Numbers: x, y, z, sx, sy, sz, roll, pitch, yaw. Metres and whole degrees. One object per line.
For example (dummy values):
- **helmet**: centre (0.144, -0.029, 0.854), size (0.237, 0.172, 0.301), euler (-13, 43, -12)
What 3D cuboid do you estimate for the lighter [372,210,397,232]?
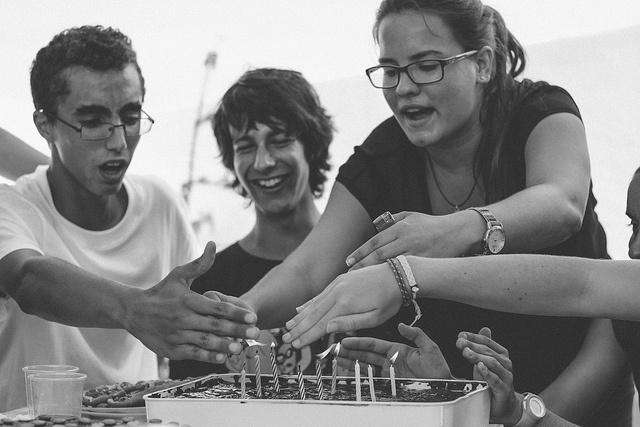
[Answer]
- **lighter**: centre (0.215, 0.022, 3.205), size (0.061, 0.068, 0.019), euler (-3, -41, 48)

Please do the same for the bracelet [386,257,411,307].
- **bracelet**: centre (0.247, 0.210, 3.018), size (0.070, 0.144, 0.051), euler (-5, -4, 4)

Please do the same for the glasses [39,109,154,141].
- **glasses**: centre (-0.853, -0.341, 3.737), size (0.427, 0.152, 0.104), euler (-4, -4, -11)

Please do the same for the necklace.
- **necklace**: centre (0.489, -0.121, 3.715), size (0.160, 0.258, 0.060), euler (-3, 18, 32)

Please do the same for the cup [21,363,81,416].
- **cup**: centre (-0.797, 0.537, 2.969), size (0.135, 0.107, 0.142), euler (1, -11, 0)

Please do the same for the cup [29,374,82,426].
- **cup**: centre (-0.787, 0.562, 2.931), size (0.134, 0.105, 0.142), euler (0, -12, 0)
